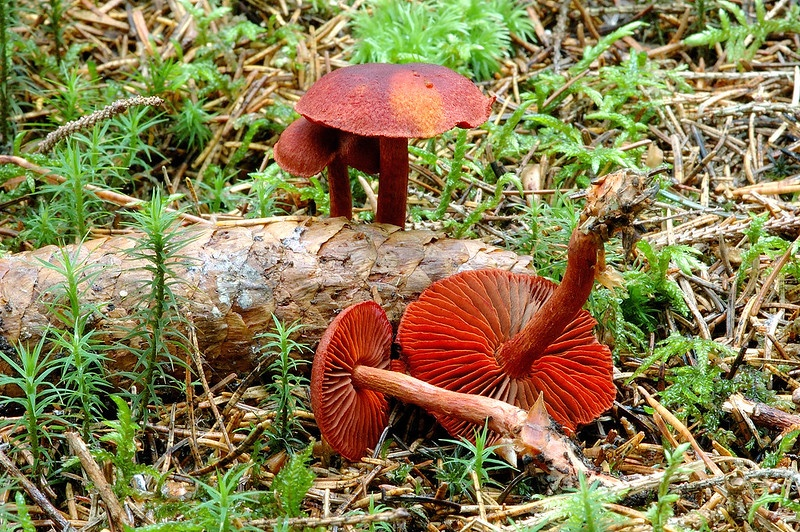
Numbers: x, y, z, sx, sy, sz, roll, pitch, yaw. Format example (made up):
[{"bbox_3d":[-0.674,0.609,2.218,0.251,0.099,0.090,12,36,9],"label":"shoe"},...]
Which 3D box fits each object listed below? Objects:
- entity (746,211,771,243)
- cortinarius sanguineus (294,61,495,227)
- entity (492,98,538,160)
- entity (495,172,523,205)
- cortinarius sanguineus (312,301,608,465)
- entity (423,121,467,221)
[{"bbox_3d":[1.991,-0.218,4.174,0.116,0.163,0.044,34,13,-11],"label":"entity"},{"bbox_3d":[-0.074,-0.649,3.905,0.785,0.710,0.777,-12,30,-24],"label":"cortinarius sanguineus"},{"bbox_3d":[0.753,-0.873,4.815,0.237,0.419,0.259,23,37,6],"label":"entity"},{"bbox_3d":[0.662,-0.482,4.478,0.082,0.203,0.141,-35,-16,21],"label":"entity"},{"bbox_3d":[0.197,0.735,3.561,1.268,0.627,0.603,22,-12,18],"label":"cortinarius sanguineus"},{"bbox_3d":[0.299,-0.499,4.337,0.142,0.763,0.089,18,-20,5],"label":"entity"}]
